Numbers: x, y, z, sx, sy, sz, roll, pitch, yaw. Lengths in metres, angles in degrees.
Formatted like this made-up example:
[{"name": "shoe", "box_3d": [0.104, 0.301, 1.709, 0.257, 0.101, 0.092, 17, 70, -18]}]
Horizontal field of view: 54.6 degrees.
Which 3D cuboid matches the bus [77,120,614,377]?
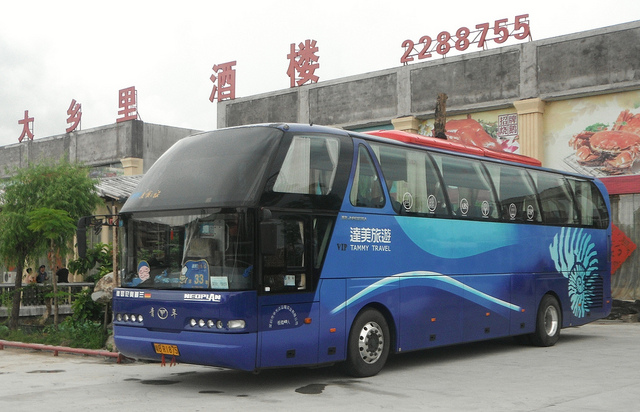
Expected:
[{"name": "bus", "box_3d": [2.809, 1.158, 17.574, 16.302, 5.871, 5.410, 6, -8, -43]}]
